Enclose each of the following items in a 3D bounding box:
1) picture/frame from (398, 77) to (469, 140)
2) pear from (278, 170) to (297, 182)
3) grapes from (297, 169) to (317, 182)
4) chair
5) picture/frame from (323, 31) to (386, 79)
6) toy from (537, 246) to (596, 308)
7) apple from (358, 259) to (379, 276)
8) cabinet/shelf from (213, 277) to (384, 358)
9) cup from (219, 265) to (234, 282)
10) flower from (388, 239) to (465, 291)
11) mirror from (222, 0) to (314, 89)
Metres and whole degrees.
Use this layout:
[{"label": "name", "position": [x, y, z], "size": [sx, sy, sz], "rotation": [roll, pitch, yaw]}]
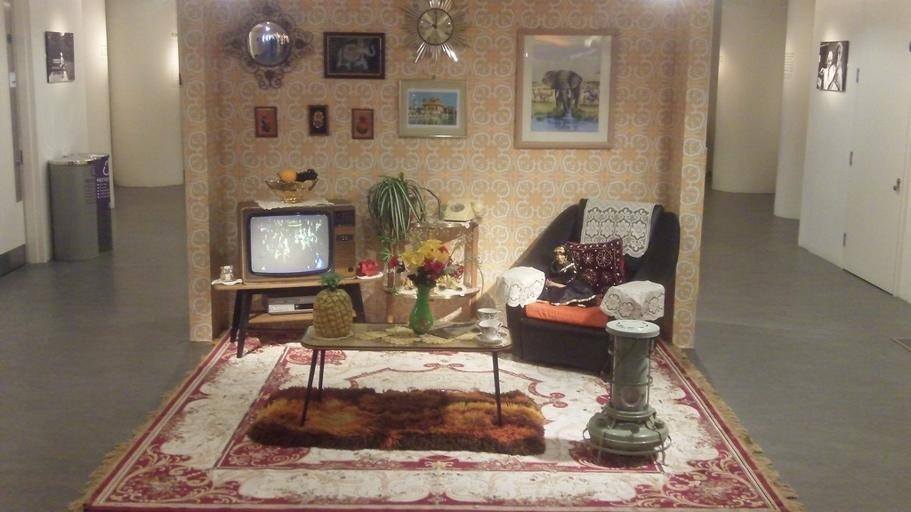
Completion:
[{"label": "picture/frame", "position": [-0.273, -1.730, 7.620], "size": [0.780, 0.558, 0.025], "rotation": [0, 5, -2]}, {"label": "pear", "position": [-1.871, -0.889, 7.371], "size": [0.197, 0.128, 0.163], "rotation": [-3, 13, -9]}, {"label": "grapes", "position": [-1.680, -0.899, 7.456], "size": [0.209, 0.134, 0.075], "rotation": [-7, 0, -14]}, {"label": "chair", "position": [1.370, 0.256, 7.663], "size": [2.219, 1.862, 1.919], "rotation": [7, 9, 21]}, {"label": "picture/frame", "position": [-1.169, -2.299, 7.515], "size": [0.607, 0.363, 0.024], "rotation": [-1, 8, 1]}, {"label": "toy", "position": [1.227, 0.239, 7.241], "size": [0.661, 0.618, 0.658], "rotation": [-5, -12, -1]}, {"label": "apple", "position": [-0.986, 0.128, 7.468], "size": [0.215, 0.090, 0.198], "rotation": [-1, 1, 0]}, {"label": "cabinet/shelf", "position": [-1.961, 0.861, 7.707], "size": [2.072, 0.801, 0.931], "rotation": [-1, 11, -10]}, {"label": "cup", "position": [-2.590, 0.193, 7.449], "size": [0.206, 0.202, 0.194], "rotation": [0, 4, 0]}, {"label": "flower", "position": [-0.302, 0.076, 6.305], "size": [0.666, 0.406, 0.613], "rotation": [1, -2, 2]}, {"label": "mirror", "position": [-2.112, -2.375, 7.465], "size": [0.984, 0.838, 0.336], "rotation": [-1, 7, -2]}]
